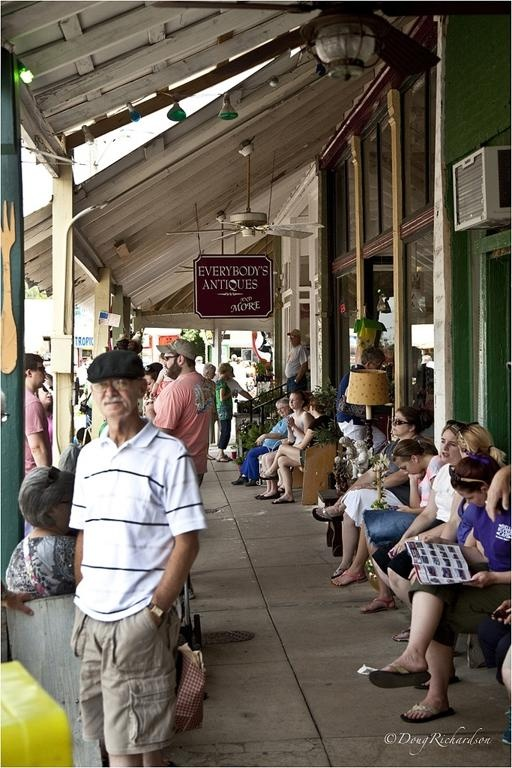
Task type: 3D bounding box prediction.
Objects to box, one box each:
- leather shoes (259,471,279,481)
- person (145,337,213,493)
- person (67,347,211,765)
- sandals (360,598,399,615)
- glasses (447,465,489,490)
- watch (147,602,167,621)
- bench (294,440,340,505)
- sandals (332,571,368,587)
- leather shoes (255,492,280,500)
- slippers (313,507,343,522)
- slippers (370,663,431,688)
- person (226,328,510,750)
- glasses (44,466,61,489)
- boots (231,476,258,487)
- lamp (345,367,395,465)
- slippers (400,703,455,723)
[{"bbox_3d":[0.159,1.278,9.494,0.304,0.120,0.103,3,-2,14],"label":"leather shoes"},{"bbox_3d":[-0.463,0.209,4.658,0.476,1.067,0.461,2,1,-19],"label":"person"},{"bbox_3d":[-0.329,0.495,2.301,0.561,1.260,0.469,4,2,-9],"label":"person"},{"bbox_3d":[0.825,1.489,4.597,0.202,0.084,0.094,1,-7,-10],"label":"sandals"},{"bbox_3d":[0.987,0.434,3.189,0.121,0.041,0.094,14,25,-8],"label":"glasses"},{"bbox_3d":[-0.291,0.672,2.035,0.014,0.053,0.049,-41,32,-28],"label":"watch"},{"bbox_3d":[0.704,1.114,8.579,0.518,0.720,0.536,1,3,-26],"label":"bench"},{"bbox_3d":[0.725,1.500,5.272,0.239,0.072,0.101,2,-1,-15],"label":"sandals"},{"bbox_3d":[0.172,1.529,9.293,0.232,0.085,0.127,12,-14,-44],"label":"leather shoes"},{"bbox_3d":[0.659,1.150,6.004,0.304,0.079,0.117,7,9,-31],"label":"slippers"},{"bbox_3d":[0.636,1.296,3.061,0.279,0.078,0.104,4,-45,-4],"label":"slippers"},{"bbox_3d":[0.524,0.952,4.095,1.328,2.185,0.777,1,-14,-9],"label":"person"},{"bbox_3d":[-0.747,0.343,2.503,0.035,0.064,0.015,23,-43,-5],"label":"glasses"},{"bbox_3d":[-0.155,1.540,10.657,0.435,0.172,0.147,10,-7,-1],"label":"boots"},{"bbox_3d":[0.967,0.135,5.928,0.245,0.518,0.243,3,2,7],"label":"lamp"},{"bbox_3d":[0.771,1.457,3.032,0.211,0.055,0.082,4,-9,-12],"label":"slippers"}]
